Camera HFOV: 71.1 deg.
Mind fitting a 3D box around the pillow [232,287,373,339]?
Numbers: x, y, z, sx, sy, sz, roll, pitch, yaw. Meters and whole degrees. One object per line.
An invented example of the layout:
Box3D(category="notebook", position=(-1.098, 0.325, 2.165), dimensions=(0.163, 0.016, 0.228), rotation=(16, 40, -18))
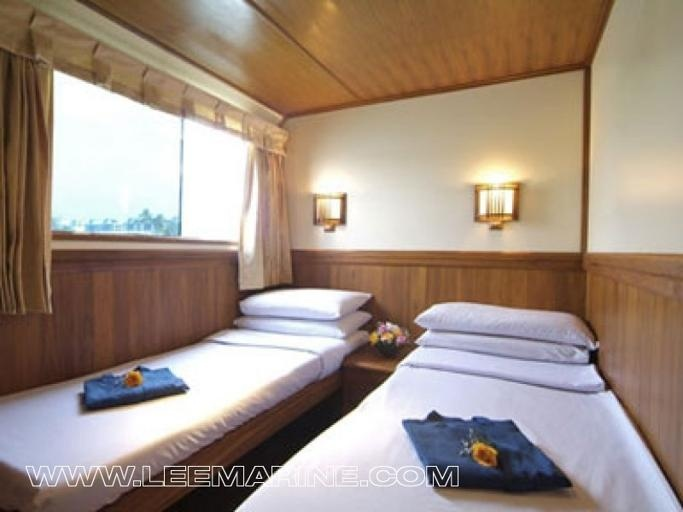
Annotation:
Box3D(category="pillow", position=(-0.328, 0.421, 3.784), dimensions=(0.728, 0.285, 0.480), rotation=(4, 10, 19))

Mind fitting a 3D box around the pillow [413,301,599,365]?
Box3D(category="pillow", position=(1.071, 0.486, 3.101), dimensions=(0.670, 0.217, 0.513), rotation=(3, 2, 22))

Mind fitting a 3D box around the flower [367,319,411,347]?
Box3D(category="flower", position=(0.346, 0.557, 3.575), dimensions=(0.210, 0.125, 0.214), rotation=(-5, -9, 39))

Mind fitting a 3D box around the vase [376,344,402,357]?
Box3D(category="vase", position=(0.355, 0.685, 3.542), dimensions=(0.124, 0.062, 0.128), rotation=(3, -7, -12))
